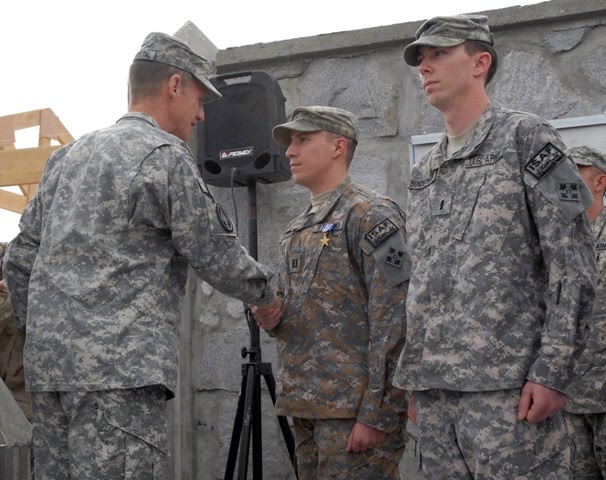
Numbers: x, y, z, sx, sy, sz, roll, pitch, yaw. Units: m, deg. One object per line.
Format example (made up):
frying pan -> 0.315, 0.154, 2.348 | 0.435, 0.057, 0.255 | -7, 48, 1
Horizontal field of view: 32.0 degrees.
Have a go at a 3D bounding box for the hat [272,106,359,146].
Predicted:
hat -> 0.078, -0.536, 4.940 | 0.304, 0.091, 0.200 | 4, -10, -22

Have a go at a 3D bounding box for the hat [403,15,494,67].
hat -> 0.556, -0.796, 4.147 | 0.400, 0.135, 0.276 | -4, -6, -27
